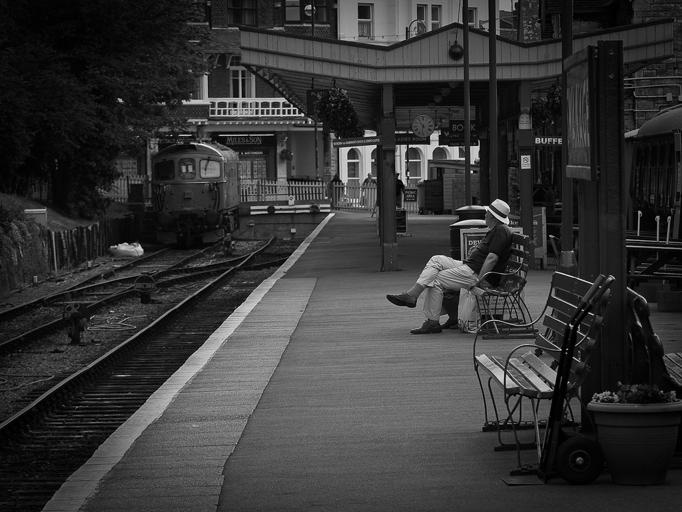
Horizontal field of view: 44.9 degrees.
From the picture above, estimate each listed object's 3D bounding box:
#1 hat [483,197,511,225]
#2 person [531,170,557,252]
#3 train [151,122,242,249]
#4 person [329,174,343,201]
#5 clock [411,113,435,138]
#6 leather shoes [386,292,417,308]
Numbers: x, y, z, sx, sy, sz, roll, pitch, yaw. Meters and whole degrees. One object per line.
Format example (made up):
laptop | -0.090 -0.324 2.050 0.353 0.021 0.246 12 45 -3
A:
hat | 1.991 -0.582 10.625 0.348 0.132 0.302 50 21 18
person | 5.756 -1.253 23.833 0.391 1.818 0.587 -13 7 -39
train | -7.288 -3.776 41.335 3.434 4.756 8.941 -1 13 -3
person | -0.351 -4.702 56.606 0.973 1.743 2.002 0 7 1
clock | 2.894 -4.587 29.180 0.884 0.820 0.633 -7 10 -44
leather shoes | 0.881 0.651 12.013 0.440 0.216 0.173 17 -31 21
